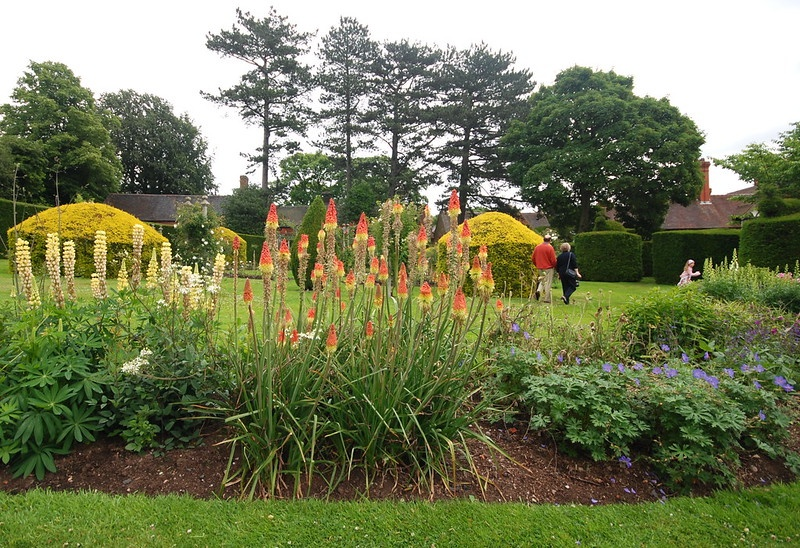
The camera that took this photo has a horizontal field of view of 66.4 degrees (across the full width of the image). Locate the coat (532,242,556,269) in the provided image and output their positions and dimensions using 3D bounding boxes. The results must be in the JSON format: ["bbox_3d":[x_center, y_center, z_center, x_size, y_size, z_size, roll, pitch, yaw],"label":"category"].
[{"bbox_3d":[3.274,-0.398,13.884,0.553,0.565,0.343,11,19,42],"label":"coat"}]
